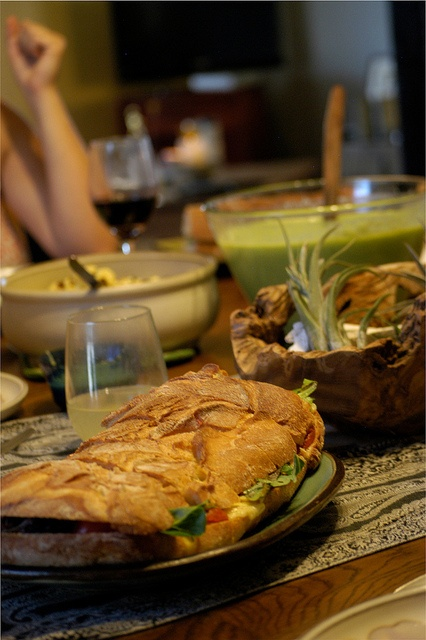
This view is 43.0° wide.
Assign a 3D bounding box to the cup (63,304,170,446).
[{"bbox_3d":[-0.076,0.040,0.455,0.075,0.103,0.065,-14,17,-32],"label":"cup"}]

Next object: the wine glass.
[{"bbox_3d":[-0.170,-0.260,1.055,0.122,0.244,0.247,-4,5,-7],"label":"wine glass"}]
